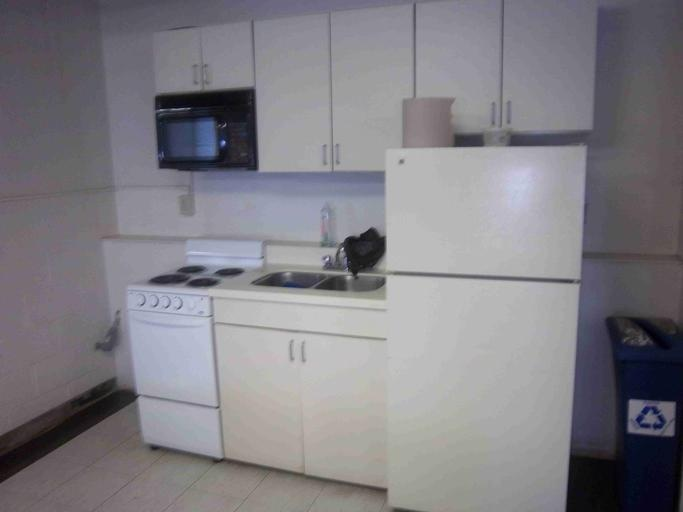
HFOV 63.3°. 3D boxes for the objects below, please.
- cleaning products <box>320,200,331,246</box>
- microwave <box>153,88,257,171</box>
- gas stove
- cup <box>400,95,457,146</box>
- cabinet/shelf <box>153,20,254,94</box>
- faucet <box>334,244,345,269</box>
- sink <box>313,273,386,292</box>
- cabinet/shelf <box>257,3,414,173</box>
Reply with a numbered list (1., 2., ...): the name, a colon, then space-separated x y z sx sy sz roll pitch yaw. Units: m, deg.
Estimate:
1. cleaning products: -0.106 -0.214 3.698 0.077 0.275 0.092 0 9 10
2. microwave: -0.848 -0.797 3.647 0.781 0.533 0.475 3 11 17
3. gas stove: -0.907 0.208 3.529 0.639 0.200 0.607 2 9 22
4. cup: 0.469 -0.701 2.969 0.268 0.271 0.252 -1 7 0
5. cabinet/shelf: -0.873 -1.216 3.570 0.650 0.361 0.218 -2 5 5
6. faucet: -0.007 0.003 3.469 0.048 0.166 0.154 -5 9 -21
7. sink: 0.061 0.175 3.415 0.230 0.082 0.178 2 10 15
8. cabinet/shelf: -0.021 -0.977 3.225 1.076 0.945 0.408 2 7 16
